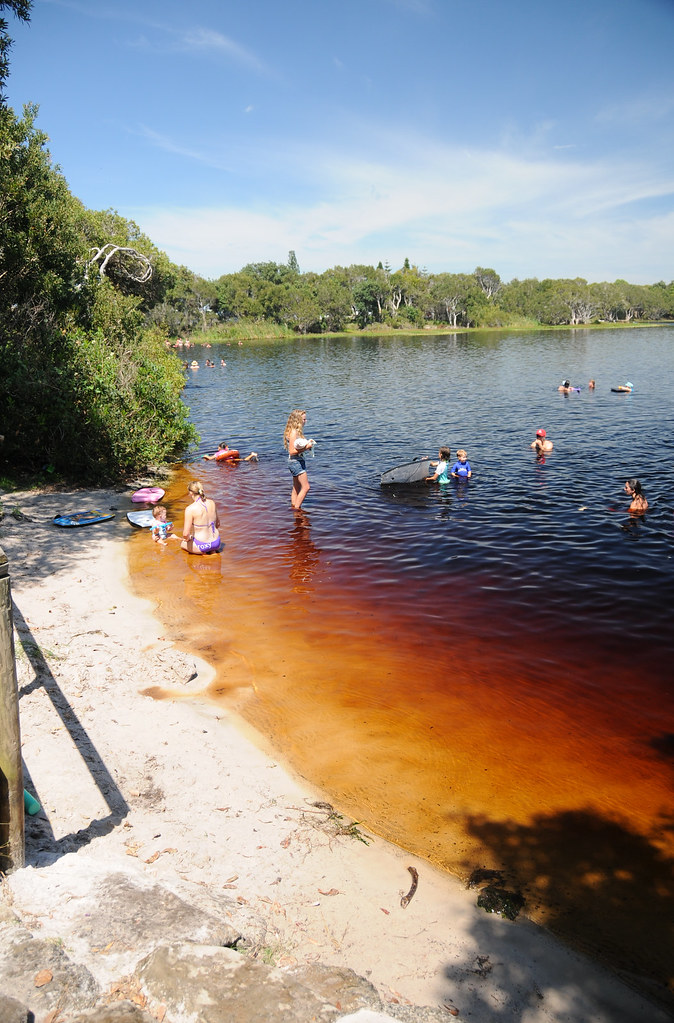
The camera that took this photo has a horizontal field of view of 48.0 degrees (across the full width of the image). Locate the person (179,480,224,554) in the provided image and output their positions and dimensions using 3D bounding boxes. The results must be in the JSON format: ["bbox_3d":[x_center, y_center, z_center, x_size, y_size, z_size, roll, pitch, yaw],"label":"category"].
[{"bbox_3d":[-3.286,0.171,18.219,0.923,1.593,1.004,15,22,35],"label":"person"}]

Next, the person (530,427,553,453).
[{"bbox_3d":[8.039,-2.752,29.774,0.700,0.958,1.826,7,12,13],"label":"person"}]

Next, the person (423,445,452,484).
[{"bbox_3d":[3.446,-1.519,25.080,0.702,1.235,1.014,11,13,28],"label":"person"}]

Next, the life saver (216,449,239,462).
[{"bbox_3d":[-4.360,-2.215,30.198,0.908,0.530,0.710,3,12,-6],"label":"life saver"}]

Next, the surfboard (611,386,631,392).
[{"bbox_3d":[17.706,-7.634,47.407,1.072,0.448,0.755,10,13,24],"label":"surfboard"}]
